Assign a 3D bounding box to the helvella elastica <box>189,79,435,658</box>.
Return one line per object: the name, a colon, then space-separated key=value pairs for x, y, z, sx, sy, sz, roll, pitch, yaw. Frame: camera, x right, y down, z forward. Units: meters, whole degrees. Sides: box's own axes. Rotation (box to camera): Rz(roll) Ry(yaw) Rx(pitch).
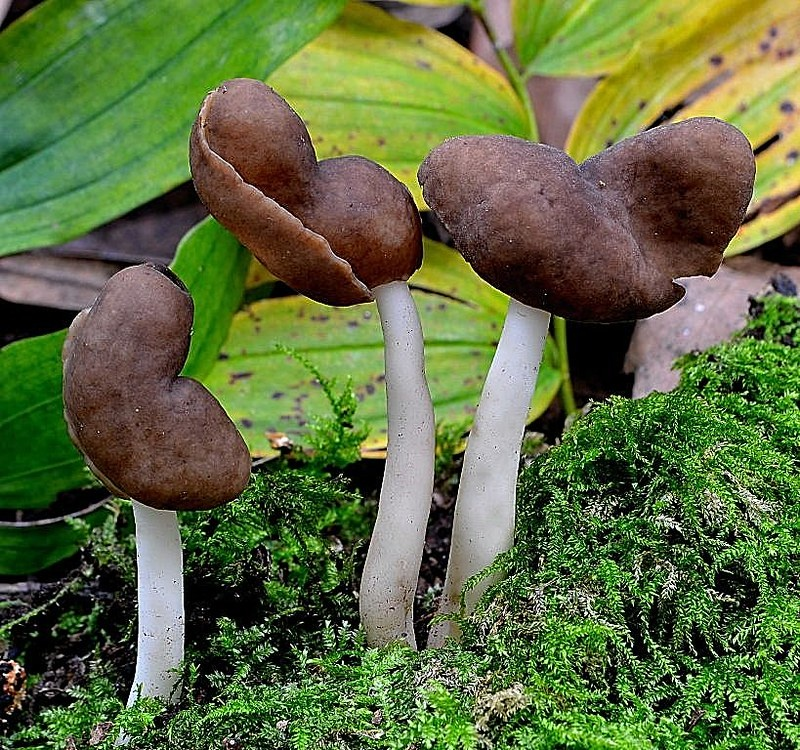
helvella elastica: x=-0.098 y=-0.030 z=2.083 sx=0.578 sy=1.074 sz=0.599 roll=-8 pitch=6 yaw=-26
